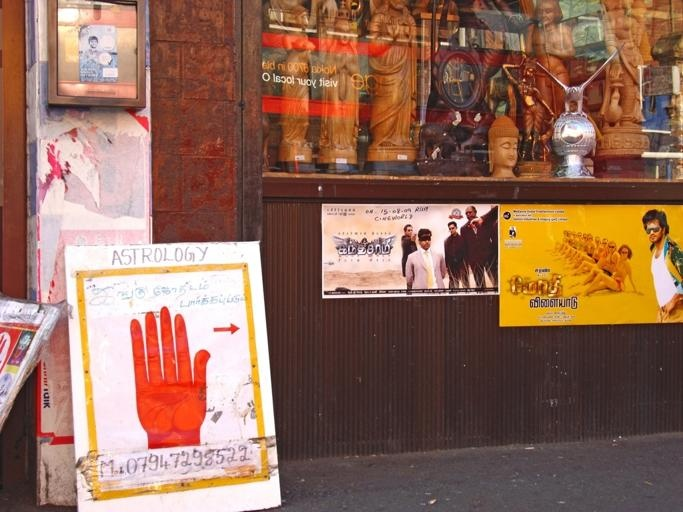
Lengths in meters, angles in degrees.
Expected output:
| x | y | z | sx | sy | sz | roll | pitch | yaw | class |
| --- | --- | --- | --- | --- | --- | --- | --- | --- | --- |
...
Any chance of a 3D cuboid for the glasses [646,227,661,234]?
| x | y | z | sx | sy | sz | roll | pitch | yaw | class |
| --- | --- | --- | --- | --- | --- | --- | --- | --- | --- |
| 2.509 | -0.197 | 8.477 | 0.056 | 0.061 | 0.020 | -12 | 29 | 18 | glasses |
